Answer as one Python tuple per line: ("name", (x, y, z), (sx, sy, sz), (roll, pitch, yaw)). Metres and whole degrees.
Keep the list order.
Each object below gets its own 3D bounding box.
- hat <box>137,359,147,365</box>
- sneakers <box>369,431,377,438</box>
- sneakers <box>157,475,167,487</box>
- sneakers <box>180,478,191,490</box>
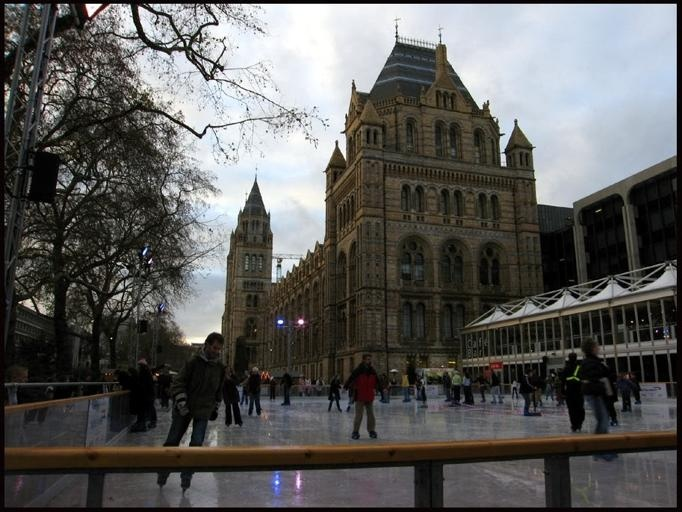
("hat", (-5.255, 2.803, 15.732), (0.265, 0.134, 0.268), (-14, -25, 39))
("sneakers", (0.737, 4.288, 14.143), (0.223, 0.225, 0.128), (1, -16, -3))
("sneakers", (-2.610, 3.264, 8.596), (0.136, 0.169, 0.311), (4, -17, -17))
("sneakers", (-2.228, 3.246, 8.435), (0.133, 0.168, 0.266), (4, -17, -16))
